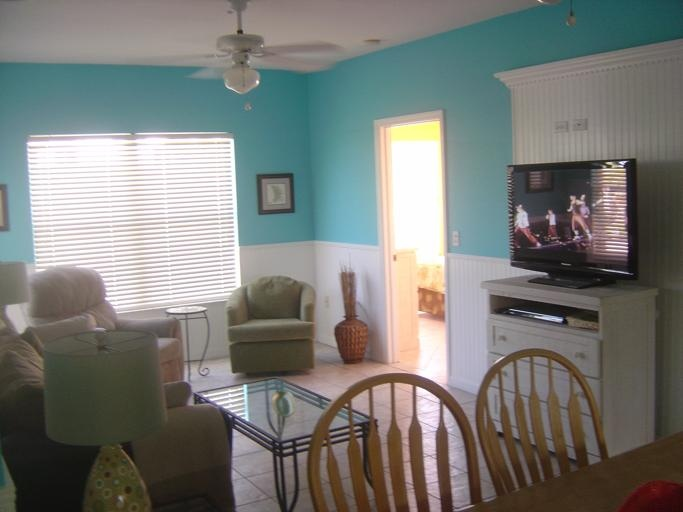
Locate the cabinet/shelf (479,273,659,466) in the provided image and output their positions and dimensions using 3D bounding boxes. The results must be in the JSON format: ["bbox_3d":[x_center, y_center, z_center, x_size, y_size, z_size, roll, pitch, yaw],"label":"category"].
[{"bbox_3d":[1.598,0.765,3.933,0.605,1.139,1.042,-8,6,-34],"label":"cabinet/shelf"}]

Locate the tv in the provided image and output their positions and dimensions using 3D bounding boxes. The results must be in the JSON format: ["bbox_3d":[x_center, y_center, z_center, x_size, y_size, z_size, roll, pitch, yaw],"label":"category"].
[{"bbox_3d":[1.599,-0.226,3.840,0.287,0.861,1.072,-6,7,-27],"label":"tv"}]

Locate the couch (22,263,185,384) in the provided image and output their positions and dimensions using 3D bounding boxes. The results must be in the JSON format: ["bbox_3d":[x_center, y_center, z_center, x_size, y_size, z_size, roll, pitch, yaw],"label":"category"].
[{"bbox_3d":[-2.191,0.434,4.919,1.263,1.220,1.147,-1,0,17],"label":"couch"}]

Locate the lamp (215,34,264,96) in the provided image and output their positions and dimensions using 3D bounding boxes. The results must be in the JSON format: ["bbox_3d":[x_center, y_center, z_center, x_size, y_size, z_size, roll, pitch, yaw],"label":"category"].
[{"bbox_3d":[-0.732,-1.358,3.975,0.355,0.387,0.353,5,17,16],"label":"lamp"}]

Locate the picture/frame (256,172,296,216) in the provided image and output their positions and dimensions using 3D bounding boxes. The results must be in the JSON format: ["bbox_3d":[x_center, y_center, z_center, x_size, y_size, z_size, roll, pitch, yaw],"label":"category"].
[{"bbox_3d":[-0.814,-0.758,6.654,0.530,0.508,0.040,-4,7,-28],"label":"picture/frame"}]
